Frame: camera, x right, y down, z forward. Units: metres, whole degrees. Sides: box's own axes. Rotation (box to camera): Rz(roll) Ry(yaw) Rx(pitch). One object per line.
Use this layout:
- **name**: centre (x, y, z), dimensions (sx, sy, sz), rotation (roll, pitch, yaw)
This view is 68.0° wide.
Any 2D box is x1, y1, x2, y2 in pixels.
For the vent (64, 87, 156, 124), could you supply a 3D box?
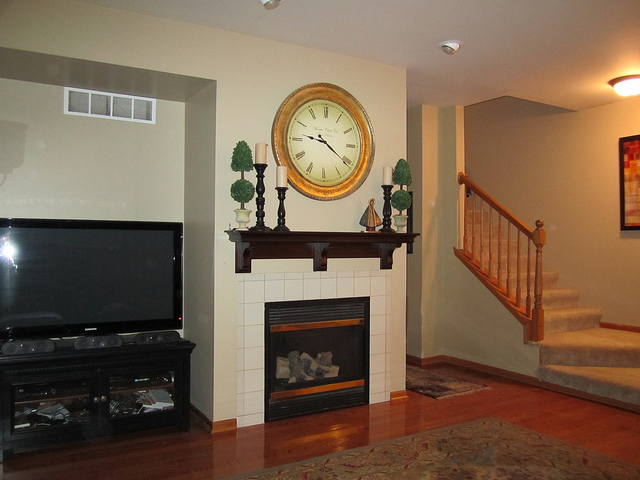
- **vent**: centre (-2.018, -1.269, 4.511), dimensions (0.684, 0.259, 0.183), rotation (5, 3, -42)

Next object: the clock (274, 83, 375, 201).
- **clock**: centre (0.062, -0.952, 4.613), dimensions (1.054, 1.115, 0.063), rotation (-1, 3, -25)

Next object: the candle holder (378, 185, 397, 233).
- **candle holder**: centre (0.683, -0.309, 4.696), dimensions (0.145, 0.467, 0.219), rotation (0, 3, 2)

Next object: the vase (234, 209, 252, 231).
- **vase**: centre (-0.650, -0.178, 4.140), dimensions (0.158, 0.194, 0.164), rotation (0, 0, 3)

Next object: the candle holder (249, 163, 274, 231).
- **candle holder**: centre (-0.528, -0.376, 4.186), dimensions (0.217, 0.581, 0.280), rotation (-1, 3, -19)

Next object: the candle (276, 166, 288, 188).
- **candle**: centre (-0.333, -0.556, 4.164), dimensions (0.133, 0.246, 0.143), rotation (0, 5, -11)

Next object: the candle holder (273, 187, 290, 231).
- **candle holder**: centre (-0.347, -0.276, 4.255), dimensions (0.132, 0.380, 0.276), rotation (0, 3, -5)

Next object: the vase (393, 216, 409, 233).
- **vase**: centre (0.810, -0.158, 4.824), dimensions (0.151, 0.189, 0.148), rotation (0, -2, -5)

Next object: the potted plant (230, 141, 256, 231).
- **potted plant**: centre (-0.663, -0.468, 4.150), dimensions (0.241, 0.755, 0.240), rotation (-5, 8, -37)

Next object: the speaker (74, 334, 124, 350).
- **speaker**: centre (-1.923, 0.883, 4.129), dimensions (0.381, 0.089, 0.175), rotation (-2, 4, -29)

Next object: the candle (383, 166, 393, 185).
- **candle**: centre (0.681, -0.630, 4.699), dimensions (0.086, 0.172, 0.230), rotation (1, 3, 11)

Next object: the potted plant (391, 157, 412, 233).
- **potted plant**: centre (0.840, -0.465, 4.844), dimensions (0.190, 0.791, 0.454), rotation (0, 3, 11)
